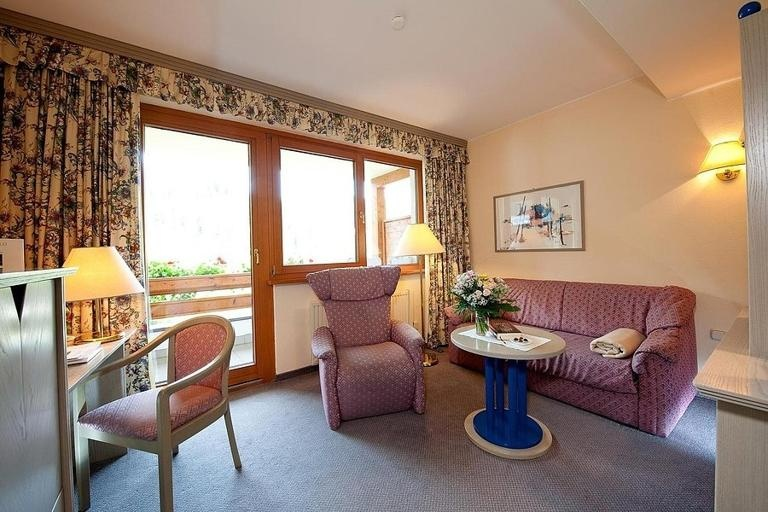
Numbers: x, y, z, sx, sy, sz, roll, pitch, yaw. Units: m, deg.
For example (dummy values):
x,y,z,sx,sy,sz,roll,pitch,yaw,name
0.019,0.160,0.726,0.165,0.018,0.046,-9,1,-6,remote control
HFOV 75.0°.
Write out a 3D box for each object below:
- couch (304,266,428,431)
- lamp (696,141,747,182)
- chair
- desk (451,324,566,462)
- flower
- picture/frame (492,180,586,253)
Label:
x,y,z,sx,sy,sz,roll,pitch,yaw,name
-0.192,0.804,4.837,1.078,1.326,0.934,-4,7,-19,couch
3.080,-0.864,4.587,0.345,0.371,0.160,1,5,33,lamp
-1.703,1.198,3.829,1.131,1.339,0.720,-5,5,-33,chair
1.068,1.152,4.410,0.808,0.707,0.816,3,-7,-10,desk
0.903,0.377,4.555,0.553,0.479,0.549,-1,-7,-3,flower
1.808,-0.449,5.715,0.029,0.619,0.856,2,-3,-45,picture/frame
